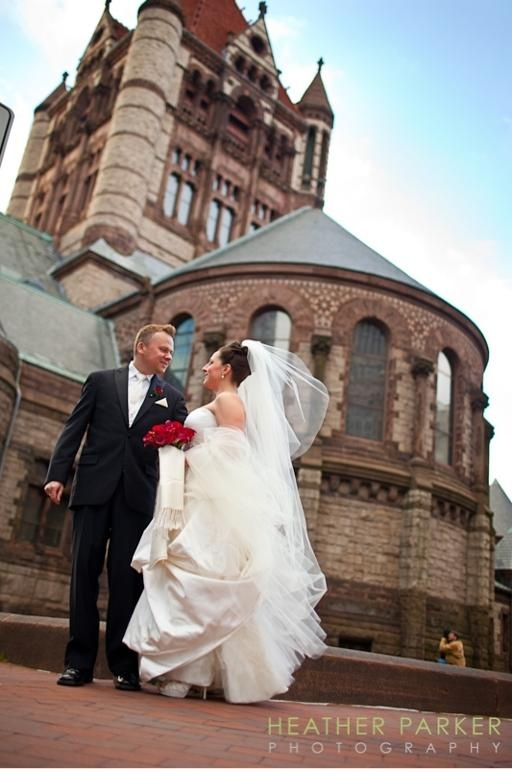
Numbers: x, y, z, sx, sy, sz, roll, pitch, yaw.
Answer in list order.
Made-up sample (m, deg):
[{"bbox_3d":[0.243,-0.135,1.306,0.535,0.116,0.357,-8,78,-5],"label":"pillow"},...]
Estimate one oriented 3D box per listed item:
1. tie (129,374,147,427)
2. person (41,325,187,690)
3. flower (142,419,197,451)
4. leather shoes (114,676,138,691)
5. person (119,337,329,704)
[{"bbox_3d":[-0.741,0.085,4.212,0.100,0.328,0.049,17,-35,-9],"label":"tie"},{"bbox_3d":[-0.829,0.594,4.024,0.771,2.082,0.550,12,-17,-6],"label":"person"},{"bbox_3d":[-0.503,0.307,3.973,0.202,0.174,0.206,-17,-20,27],"label":"flower"},{"bbox_3d":[-0.680,1.574,3.643,0.139,0.058,0.216,12,-17,-7],"label":"leather shoes"},{"bbox_3d":[0.007,0.792,4.364,1.330,2.169,1.074,6,8,7],"label":"person"}]
